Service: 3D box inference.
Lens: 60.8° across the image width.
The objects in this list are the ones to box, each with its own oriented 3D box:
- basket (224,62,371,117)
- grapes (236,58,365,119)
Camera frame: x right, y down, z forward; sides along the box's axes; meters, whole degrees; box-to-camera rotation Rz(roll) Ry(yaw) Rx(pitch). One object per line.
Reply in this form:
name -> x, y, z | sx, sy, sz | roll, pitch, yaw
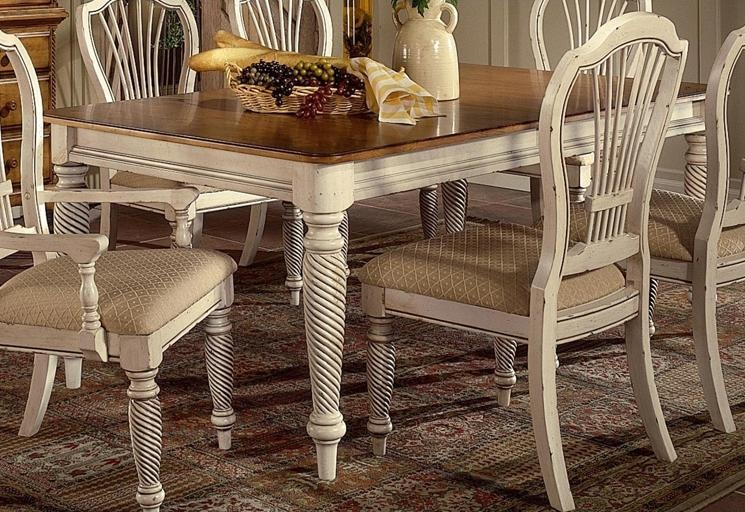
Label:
basket -> -0.240, -0.546, 2.135 | 0.371, 0.098, 0.234 | 6, 12, 24
grapes -> -0.262, -0.556, 2.138 | 0.360, 0.098, 0.240 | 7, 13, 24
